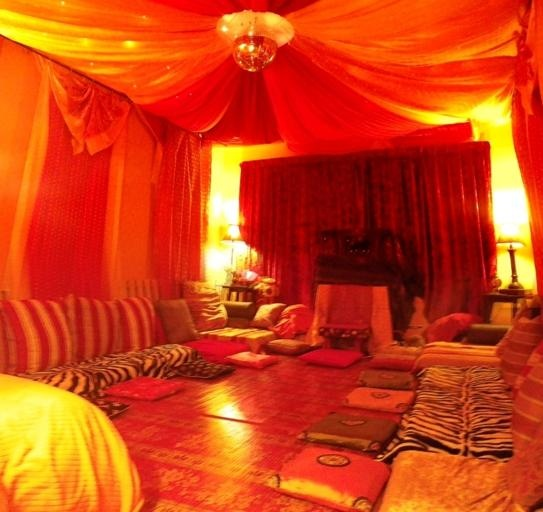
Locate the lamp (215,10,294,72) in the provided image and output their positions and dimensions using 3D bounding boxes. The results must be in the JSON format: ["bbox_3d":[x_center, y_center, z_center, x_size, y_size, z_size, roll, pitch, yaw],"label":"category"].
[{"bbox_3d":[-0.128,-1.468,3.242,0.583,0.239,0.515,-1,-7,-13],"label":"lamp"}]
